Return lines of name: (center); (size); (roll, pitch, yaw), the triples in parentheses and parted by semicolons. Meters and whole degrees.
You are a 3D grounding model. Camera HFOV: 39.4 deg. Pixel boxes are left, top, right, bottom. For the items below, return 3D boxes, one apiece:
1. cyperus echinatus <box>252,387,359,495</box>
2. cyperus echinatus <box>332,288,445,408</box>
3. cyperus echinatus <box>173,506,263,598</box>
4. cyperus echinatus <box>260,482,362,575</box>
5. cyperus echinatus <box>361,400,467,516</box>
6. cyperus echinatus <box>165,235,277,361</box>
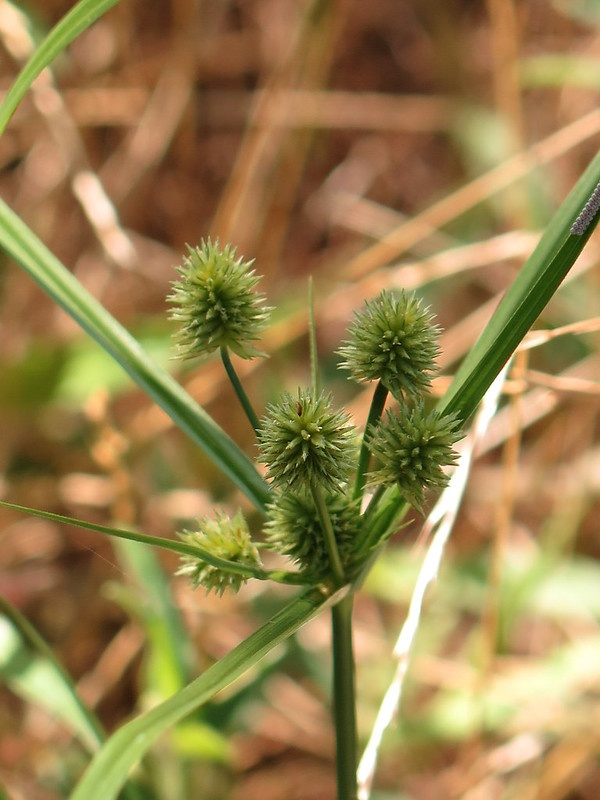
cyperus echinatus: (0.012, 0.027, 0.666); (0.075, 0.053, 0.065); (4, 0, -33)
cyperus echinatus: (0.079, -0.052, 0.712); (0.077, 0.060, 0.070); (6, -4, 44)
cyperus echinatus: (-0.062, 0.132, 0.749); (0.066, 0.047, 0.066); (-7, -5, 44)
cyperus echinatus: (0.010, 0.115, 0.779); (0.095, 0.077, 0.089); (-5, 5, -41)
cyperus echinatus: (0.095, 0.055, 0.735); (0.103, 0.083, 0.096); (10, -19, -10)
cyperus echinatus: (-0.070, -0.084, 0.724); (0.081, 0.083, 0.089); (-6, -43, -7)
